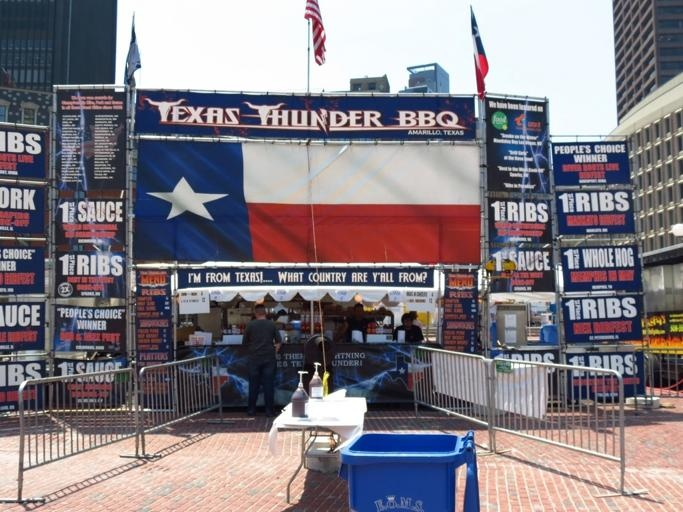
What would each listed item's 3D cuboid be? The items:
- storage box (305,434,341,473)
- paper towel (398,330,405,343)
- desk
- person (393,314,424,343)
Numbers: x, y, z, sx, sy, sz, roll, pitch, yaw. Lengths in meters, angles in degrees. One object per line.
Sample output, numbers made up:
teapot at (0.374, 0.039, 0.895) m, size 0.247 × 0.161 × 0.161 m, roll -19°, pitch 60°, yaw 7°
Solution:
storage box at (-0.326, 3.729, 16.147) m, size 0.664 × 0.481 × 0.718 m, roll 1°, pitch -2°, yaw 5°
paper towel at (1.488, 1.959, 20.918) m, size 0.198 × 0.437 × 0.216 m, roll 2°, pitch -5°, yaw -2°
desk at (-0.332, 3.661, 15.256) m, size 1.233 × 1.245 × 2.293 m, roll -1°, pitch -9°, yaw 5°
person at (1.749, 1.882, 22.172) m, size 0.804 × 1.170 × 0.428 m, roll -5°, pitch -23°, yaw 10°
